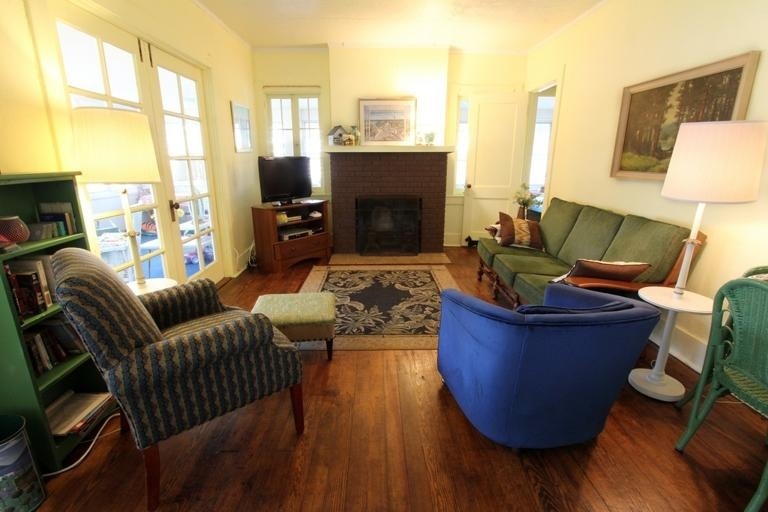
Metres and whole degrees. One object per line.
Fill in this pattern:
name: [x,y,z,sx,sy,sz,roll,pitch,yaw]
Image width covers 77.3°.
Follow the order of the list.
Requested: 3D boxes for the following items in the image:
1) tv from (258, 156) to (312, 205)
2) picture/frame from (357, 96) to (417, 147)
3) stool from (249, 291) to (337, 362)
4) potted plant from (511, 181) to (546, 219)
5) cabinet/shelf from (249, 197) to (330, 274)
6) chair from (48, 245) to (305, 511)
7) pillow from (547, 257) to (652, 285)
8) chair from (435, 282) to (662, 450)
tv: [-1.181,-0.934,5.823,0.202,0.545,0.816,14,20,36]
picture/frame: [0.032,-1.775,6.237,0.792,0.550,0.049,0,28,-3]
stool: [-0.595,0.501,4.036,0.578,0.423,0.701,-3,22,6]
potted plant: [1.703,-0.670,5.902,0.342,0.362,0.281,-6,21,-28]
cabinet/shelf: [-1.106,-0.292,5.975,0.872,0.697,0.447,-16,24,-41]
chair: [-1.227,0.715,3.006,1.306,1.472,0.602,-6,18,-20]
pillow: [1.718,0.112,3.716,0.785,0.187,0.128,-1,17,-5]
chair: [1.034,0.669,3.513,1.193,1.008,1.173,-4,17,-8]
